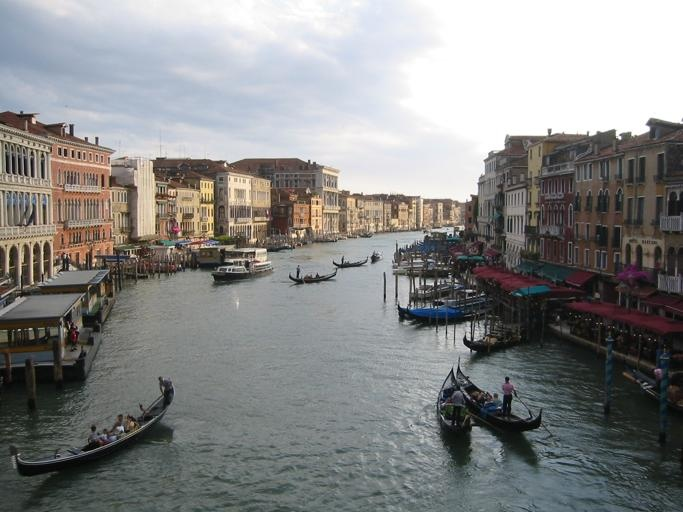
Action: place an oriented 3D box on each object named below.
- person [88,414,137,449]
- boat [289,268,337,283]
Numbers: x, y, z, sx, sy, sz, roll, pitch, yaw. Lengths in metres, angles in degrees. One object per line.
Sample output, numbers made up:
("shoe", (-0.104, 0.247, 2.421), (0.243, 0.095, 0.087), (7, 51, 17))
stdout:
("person", (-13.003, 10.091, 36.748), (1.017, 1.116, 4.140), (7, 6, 11))
("boat", (-4.357, 2.693, 98.234), (1.503, 2.035, 7.582), (25, 19, 39))
